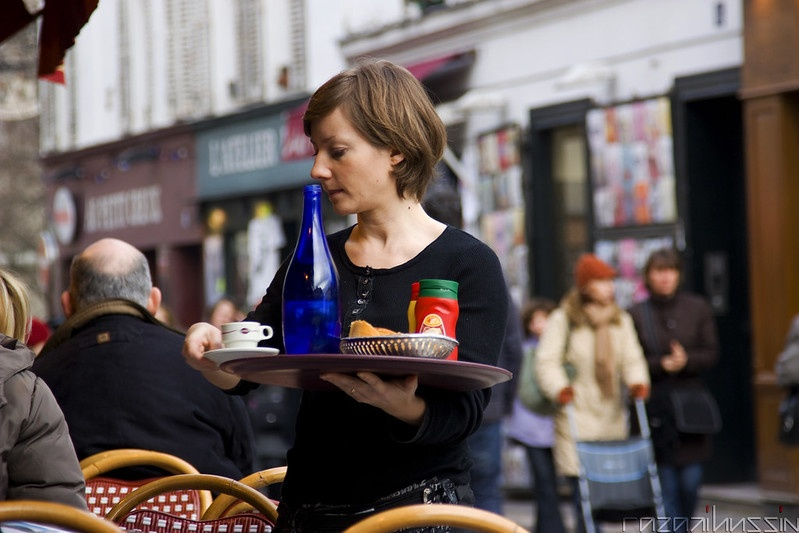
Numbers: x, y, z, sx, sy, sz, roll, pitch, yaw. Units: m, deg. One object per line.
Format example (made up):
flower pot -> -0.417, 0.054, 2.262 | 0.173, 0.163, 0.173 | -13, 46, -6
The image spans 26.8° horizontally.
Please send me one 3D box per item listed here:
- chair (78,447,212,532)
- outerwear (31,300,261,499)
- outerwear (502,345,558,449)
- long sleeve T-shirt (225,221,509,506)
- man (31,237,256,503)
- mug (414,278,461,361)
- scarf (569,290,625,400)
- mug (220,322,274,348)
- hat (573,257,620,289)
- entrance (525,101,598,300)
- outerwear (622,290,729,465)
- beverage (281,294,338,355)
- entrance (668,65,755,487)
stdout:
chair -> -1.412, 1.207, 9.197 | 0.479, 0.472, 0.632 | 5, -37, -15
outerwear -> -1.445, 0.743, 9.935 | 1.599, 1.383, 0.911 | -2, 0, -2
outerwear -> 0.880, 0.945, 11.779 | 0.473, 0.530, 0.470 | 12, -5, 32
long sleeve T-shirt -> -0.137, 0.411, 8.826 | 1.694, 1.715, 1.142 | -3, -15, 32
man -> -1.650, 0.912, 9.939 | 1.502, 2.066, 1.040 | 1, -3, -17
mug -> 0.177, 0.288, 8.215 | 0.226, 0.427, 0.161 | 1, -10, 13
scarf -> 1.277, 0.499, 10.657 | 0.171, 0.602, 0.447 | -15, 5, -35
mug -> -0.757, 0.340, 8.234 | 0.183, 0.088, 0.140 | 0, -6, 1
hat -> 1.252, 0.048, 10.560 | 0.228, 0.192, 0.171 | -6, 1, 34
entrance -> 1.038, -0.399, 10.938 | 0.336, 0.965, 0.976 | -4, -2, -9
outerwear -> 1.742, 0.727, 10.507 | 0.542, 1.297, 0.392 | 0, 15, 20
beverage -> -0.443, 0.285, 8.213 | 0.254, 0.256, 0.261 | -4, -6, 35
entrance -> 1.992, 0.078, 10.233 | 0.448, 2.052, 0.292 | -5, -2, 28
